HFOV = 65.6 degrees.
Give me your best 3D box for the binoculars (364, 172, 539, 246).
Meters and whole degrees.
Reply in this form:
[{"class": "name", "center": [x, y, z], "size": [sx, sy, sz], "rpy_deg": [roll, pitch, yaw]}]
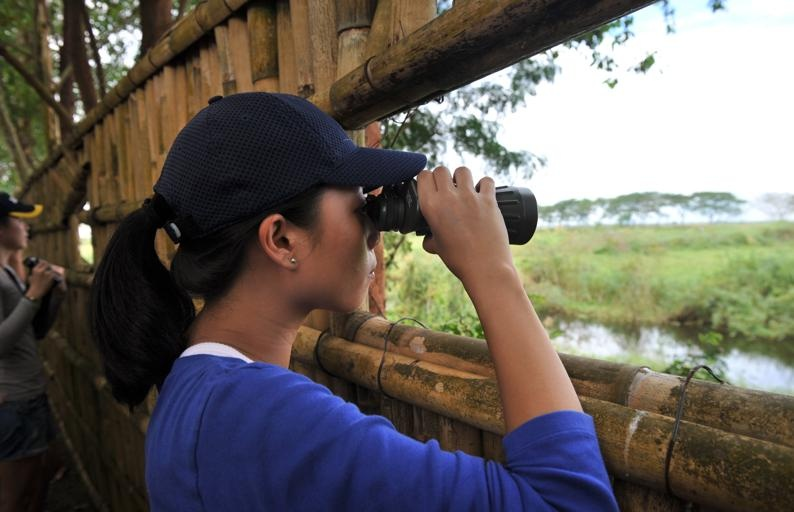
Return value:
[{"class": "binoculars", "center": [0.212, -0.214, 2.362], "size": [0.597, 0.248, 0.285], "rpy_deg": [-1, 16, -19]}]
